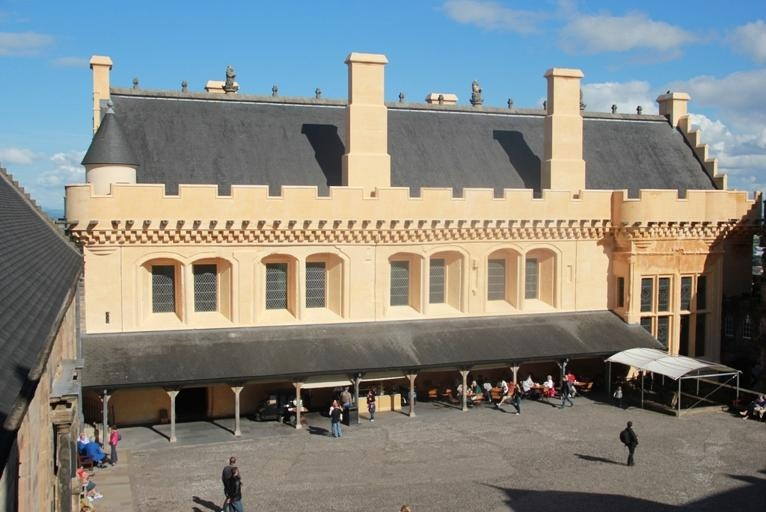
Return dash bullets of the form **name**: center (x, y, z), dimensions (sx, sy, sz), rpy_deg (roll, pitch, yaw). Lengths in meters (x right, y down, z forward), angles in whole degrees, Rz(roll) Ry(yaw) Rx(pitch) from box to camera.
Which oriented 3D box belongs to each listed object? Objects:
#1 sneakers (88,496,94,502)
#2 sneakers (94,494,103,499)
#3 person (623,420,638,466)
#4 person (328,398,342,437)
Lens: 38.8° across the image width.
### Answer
- **sneakers**: center (-12.300, 10.260, 45.841), dimensions (0.237, 0.177, 0.350), rpy_deg (-4, 2, -14)
- **sneakers**: center (-12.058, 10.189, 46.109), dimensions (0.343, 0.235, 0.126), rpy_deg (-2, 19, -13)
- **person**: center (11.147, 8.422, 49.458), dimensions (0.701, 1.262, 1.640), rpy_deg (-3, 2, 15)
- **person**: center (-2.273, 7.807, 52.106), dimensions (0.527, 1.388, 1.123), rpy_deg (-3, 2, -5)
